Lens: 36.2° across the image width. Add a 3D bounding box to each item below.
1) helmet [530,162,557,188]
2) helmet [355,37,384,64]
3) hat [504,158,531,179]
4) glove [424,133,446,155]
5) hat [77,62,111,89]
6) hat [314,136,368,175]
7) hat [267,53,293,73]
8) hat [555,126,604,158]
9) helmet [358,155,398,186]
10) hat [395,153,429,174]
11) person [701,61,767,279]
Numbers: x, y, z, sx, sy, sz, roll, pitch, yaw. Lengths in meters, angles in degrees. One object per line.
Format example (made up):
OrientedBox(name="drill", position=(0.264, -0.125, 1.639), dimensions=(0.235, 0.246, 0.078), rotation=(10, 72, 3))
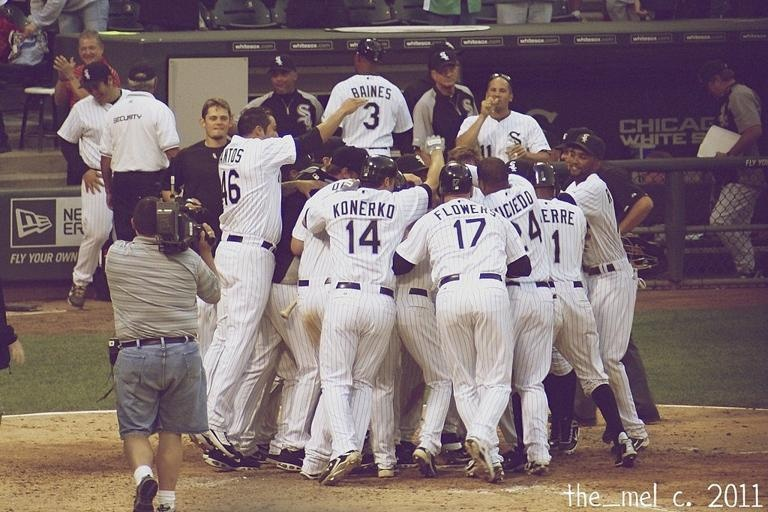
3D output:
OrientedBox(name="helmet", position=(1.582, -0.787, 11.691), dimensions=(0.218, 0.212, 0.244), rotation=(-2, -6, 21))
OrientedBox(name="helmet", position=(-0.167, -2.241, 12.906), dimensions=(0.250, 0.199, 0.286), rotation=(4, -8, -36))
OrientedBox(name="hat", position=(1.348, -0.848, 11.667), dimensions=(0.246, 0.191, 0.269), rotation=(-1, 4, 3))
OrientedBox(name="glove", position=(0.499, -1.095, 11.678), dimensions=(0.161, 0.172, 0.154), rotation=(-1, 4, 5))
OrientedBox(name="hat", position=(-3.304, -2.045, 13.347), dimensions=(0.259, 0.176, 0.342), rotation=(4, 22, 24))
OrientedBox(name="hat", position=(-0.422, -0.957, 11.526), dimensions=(0.517, 0.291, 0.261), rotation=(4, 0, 40))
OrientedBox(name="hat", position=(-1.134, -2.121, 13.052), dimensions=(0.252, 0.196, 0.178), rotation=(-2, 4, -6))
OrientedBox(name="hat", position=(2.055, -1.152, 12.152), dimensions=(0.379, 0.341, 0.470), rotation=(-1, 4, 1))
OrientedBox(name="helmet", position=(-0.044, -0.822, 11.084), dimensions=(0.237, 0.240, 0.337), rotation=(21, 32, 36))
OrientedBox(name="hat", position=(0.294, -0.929, 11.905), dimensions=(0.305, 0.105, 0.201), rotation=(-2, 9, -8))
OrientedBox(name="person", position=(4.983, -1.191, 16.660), dimensions=(0.781, 3.021, 0.929), rotation=(0, 4, 16))
